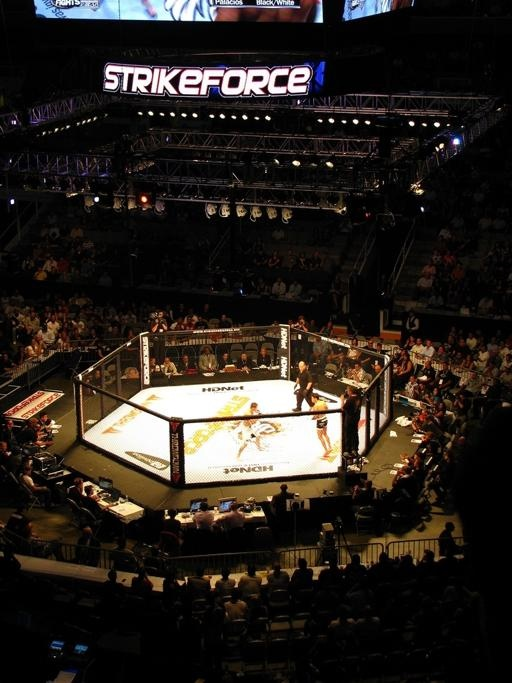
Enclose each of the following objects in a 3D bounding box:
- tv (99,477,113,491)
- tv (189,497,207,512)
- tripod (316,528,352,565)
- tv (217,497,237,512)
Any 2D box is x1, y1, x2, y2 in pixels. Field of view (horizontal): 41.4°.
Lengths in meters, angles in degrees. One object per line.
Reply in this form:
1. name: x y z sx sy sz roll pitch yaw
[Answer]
1. tv: -3.283 3.090 14.620 0.265 0.046 0.333 -7 -61 2
2. tv: -1.185 3.298 13.612 0.472 0.308 0.225 -4 -92 6
3. tripod: 1.441 3.944 12.615 0.781 0.702 0.678 -3 -84 -4
4. tv: -0.626 3.314 13.758 0.487 0.231 0.393 0 -76 -5
